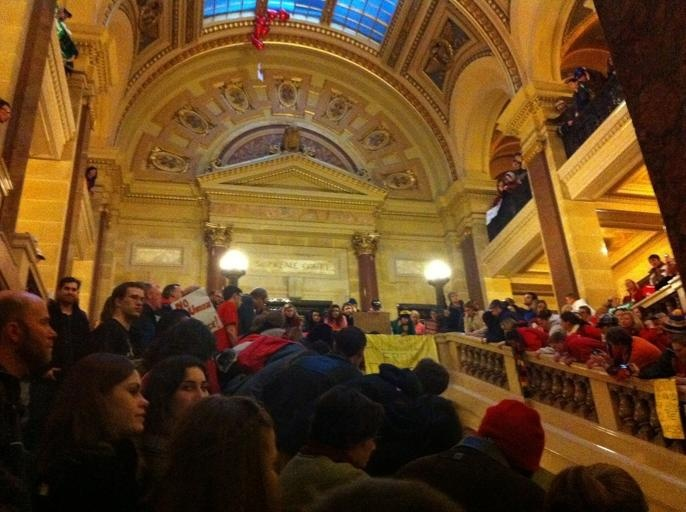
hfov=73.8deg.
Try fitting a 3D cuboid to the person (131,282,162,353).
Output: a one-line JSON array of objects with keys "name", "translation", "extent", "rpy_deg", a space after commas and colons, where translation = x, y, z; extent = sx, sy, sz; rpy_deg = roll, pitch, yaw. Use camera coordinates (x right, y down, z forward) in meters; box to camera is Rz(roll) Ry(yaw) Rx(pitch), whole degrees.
[{"name": "person", "translation": [-1.953, 0.617, 4.488], "extent": [0.256, 0.747, 0.256], "rpy_deg": [4, -53, -18]}]

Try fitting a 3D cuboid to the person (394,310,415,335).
[{"name": "person", "translation": [1.260, 1.381, 9.425], "extent": [0.423, 0.491, 0.886], "rpy_deg": [-3, -11, 5]}]

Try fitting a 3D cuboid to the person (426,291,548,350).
[{"name": "person", "translation": [2.572, 1.016, 6.889], "extent": [0.851, 0.768, 1.637], "rpy_deg": [-5, -11, 16]}]

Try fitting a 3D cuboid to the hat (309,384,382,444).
[{"name": "hat", "translation": [0.021, 0.780, 2.338], "extent": [0.334, 0.276, 0.251], "rpy_deg": [-5, 2, -15]}]

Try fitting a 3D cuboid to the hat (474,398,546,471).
[{"name": "hat", "translation": [0.897, 0.992, 2.502], "extent": [0.428, 0.337, 0.313], "rpy_deg": [20, -14, -25]}]
